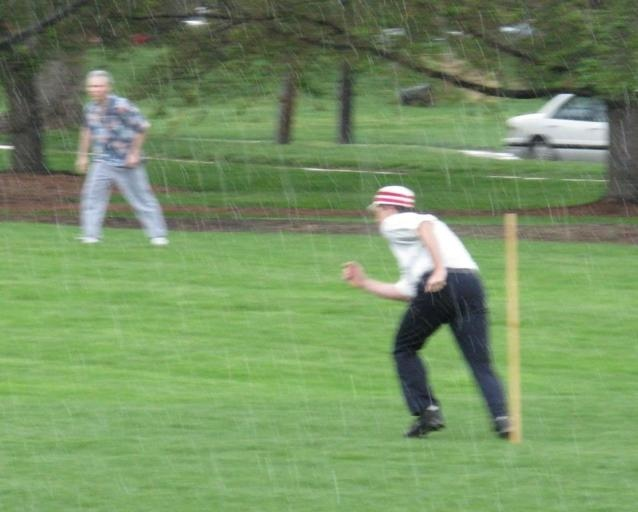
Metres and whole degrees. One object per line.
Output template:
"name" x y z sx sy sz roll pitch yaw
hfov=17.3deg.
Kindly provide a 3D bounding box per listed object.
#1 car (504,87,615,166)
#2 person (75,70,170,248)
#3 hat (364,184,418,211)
"car" 4.172 -2.191 35.564 1.754 0.765 0.950 -3 17 -1
"person" -2.615 -1.302 27.336 1.088 2.318 0.915 -1 7 -9
"hat" 0.843 -0.678 22.681 0.398 0.177 0.271 2 1 8
